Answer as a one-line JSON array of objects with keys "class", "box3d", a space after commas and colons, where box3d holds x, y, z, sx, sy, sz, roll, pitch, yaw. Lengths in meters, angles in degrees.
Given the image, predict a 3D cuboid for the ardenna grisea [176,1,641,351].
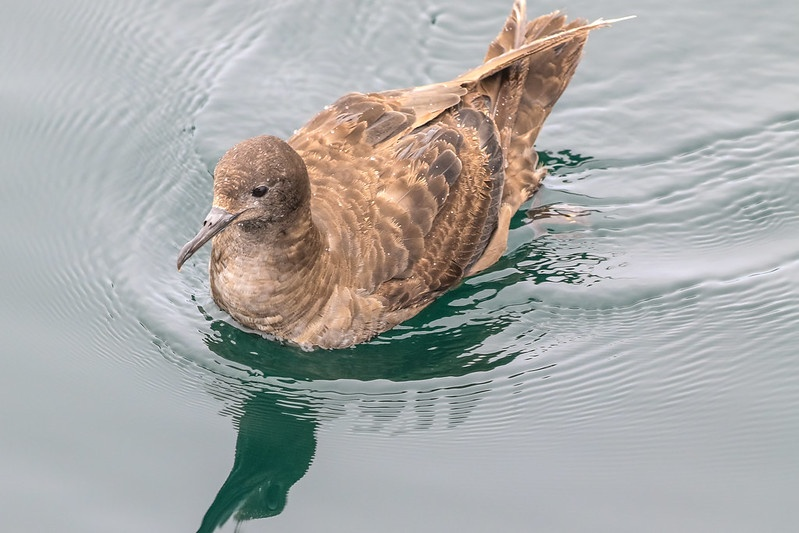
[{"class": "ardenna grisea", "box3d": [0.587, -1.085, 10.756, 2.805, 6.394, 2.994, 42, -22, 29]}]
